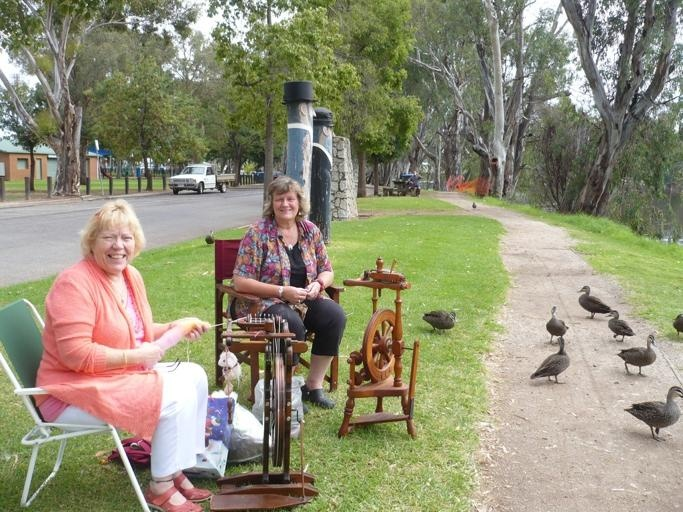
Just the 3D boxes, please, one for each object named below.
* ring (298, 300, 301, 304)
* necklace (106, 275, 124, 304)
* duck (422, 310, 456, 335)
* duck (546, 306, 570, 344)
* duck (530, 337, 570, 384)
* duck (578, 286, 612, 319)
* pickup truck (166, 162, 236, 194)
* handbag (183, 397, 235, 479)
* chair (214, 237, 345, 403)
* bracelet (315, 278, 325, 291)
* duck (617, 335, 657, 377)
[{"bbox_3d":[-0.409,0.421,5.698,0.008,0.035,0.031,6,12,44],"label":"ring"},{"bbox_3d":[-1.679,0.248,4.535,0.130,0.174,0.172,-4,-2,-29],"label":"necklace"},{"bbox_3d":[1.312,0.860,8.255,0.417,0.312,0.229,13,16,37],"label":"duck"},{"bbox_3d":[2.873,0.890,8.122,0.252,0.526,0.488,5,8,39],"label":"duck"},{"bbox_3d":[2.343,1.171,6.851,0.425,0.479,0.520,5,9,12],"label":"duck"},{"bbox_3d":[3.834,0.693,9.218,0.509,0.474,0.286,4,3,27],"label":"duck"},{"bbox_3d":[-9.578,-5.269,41.087,2.720,2.056,5.491,3,7,-2],"label":"pickup truck"},{"bbox_3d":[-1.003,1.451,4.977,0.622,0.532,0.506,3,7,-6],"label":"handbag"},{"bbox_3d":[-0.821,0.402,6.359,0.797,1.994,0.957,0,1,-26],"label":"chair"},{"bbox_3d":[-0.218,0.273,5.939,0.045,0.123,0.086,-20,-3,21],"label":"bracelet"},{"bbox_3d":[3.416,1.137,7.102,0.269,0.490,0.546,5,0,-25],"label":"duck"}]
